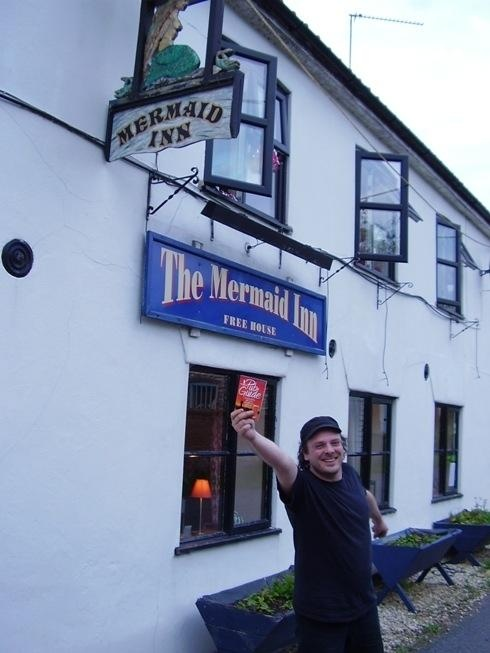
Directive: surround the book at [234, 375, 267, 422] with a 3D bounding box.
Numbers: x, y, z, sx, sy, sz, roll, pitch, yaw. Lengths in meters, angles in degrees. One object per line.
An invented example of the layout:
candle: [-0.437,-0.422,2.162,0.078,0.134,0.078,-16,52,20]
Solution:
book: [0.027,0.300,2.757,0.117,0.177,0.195,0,-11,-1]
